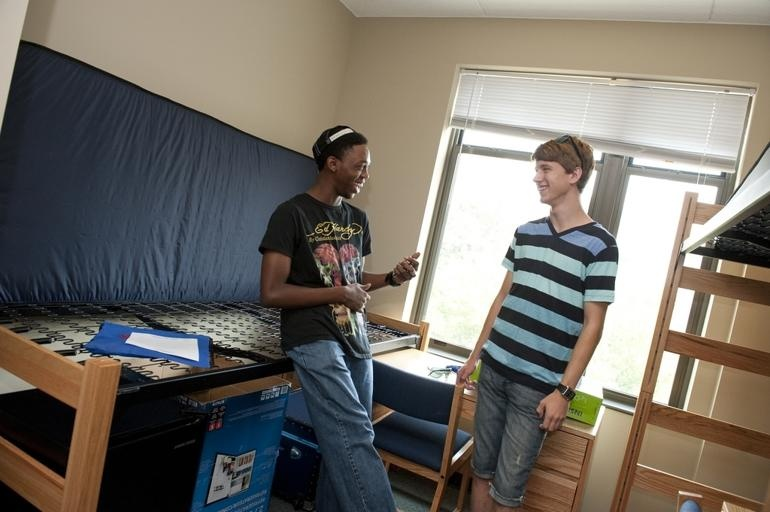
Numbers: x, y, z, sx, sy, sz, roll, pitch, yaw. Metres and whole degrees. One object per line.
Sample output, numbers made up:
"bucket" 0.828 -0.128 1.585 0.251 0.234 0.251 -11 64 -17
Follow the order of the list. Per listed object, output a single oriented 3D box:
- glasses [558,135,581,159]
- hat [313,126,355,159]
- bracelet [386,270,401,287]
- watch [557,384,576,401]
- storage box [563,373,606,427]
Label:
"glasses" 0.884 -0.524 2.149 0.031 0.091 0.096 -36 27 -31
"hat" -0.249 -0.556 2.182 0.103 0.193 0.143 52 9 4
"bracelet" 0.039 0.113 2.334 0.072 0.070 0.078 8 -10 -34
"watch" 0.819 0.599 1.998 0.113 0.055 0.056 5 9 -25
"storage box" 1.116 0.777 2.472 0.210 0.088 0.270 10 23 28
